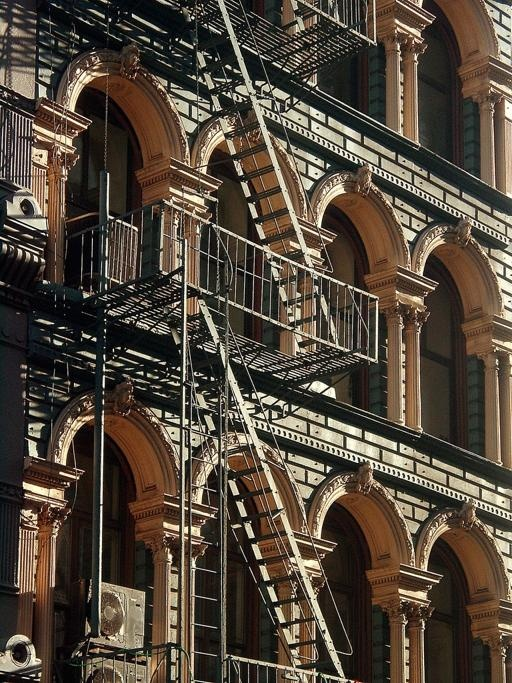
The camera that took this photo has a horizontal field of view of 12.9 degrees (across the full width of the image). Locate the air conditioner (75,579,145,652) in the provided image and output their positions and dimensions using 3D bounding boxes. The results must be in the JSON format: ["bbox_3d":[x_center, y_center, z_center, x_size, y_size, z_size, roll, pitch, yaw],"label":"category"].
[{"bbox_3d":[-1.714,3.265,26.647,0.251,0.699,0.691,-9,-18,27],"label":"air conditioner"}]
